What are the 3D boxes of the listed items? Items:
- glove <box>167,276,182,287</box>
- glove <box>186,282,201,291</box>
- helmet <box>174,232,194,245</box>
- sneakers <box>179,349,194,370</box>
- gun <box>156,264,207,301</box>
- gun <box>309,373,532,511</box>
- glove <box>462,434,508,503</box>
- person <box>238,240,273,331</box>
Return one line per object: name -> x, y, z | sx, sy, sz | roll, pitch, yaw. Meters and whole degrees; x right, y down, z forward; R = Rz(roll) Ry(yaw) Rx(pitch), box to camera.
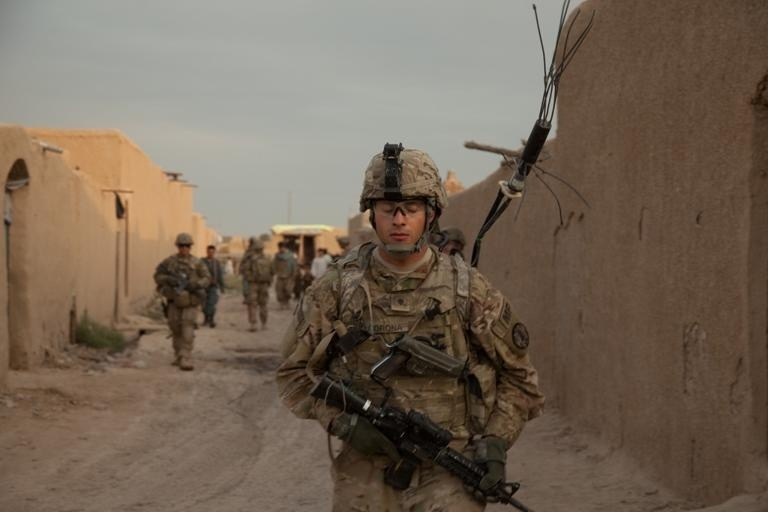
glove -> -2.735, 0.366, 17.494 | 0.112, 0.134, 0.198 | 1, 5, -8
glove -> -2.498, 0.424, 17.518 | 0.176, 0.108, 0.049 | 2, 1, -12
helmet -> -2.700, -0.194, 18.102 | 0.184, 0.112, 0.241 | 1, -7, -10
sneakers -> -2.599, 1.396, 17.651 | 0.193, 0.265, 0.202 | 2, 1, -11
gun -> -2.660, 0.375, 17.620 | 0.605, 0.317, 0.110 | 31, -20, 9
gun -> 0.326, 1.606, 11.541 | 2.122, 0.658, 0.307 | 30, -30, 7
glove -> 0.912, 1.794, 11.427 | 0.274, 0.218, 0.656 | -6, 38, 7
person -> -2.066, 0.500, 21.539 | 0.513, 1.472, 1.045 | 2, 1, -7
